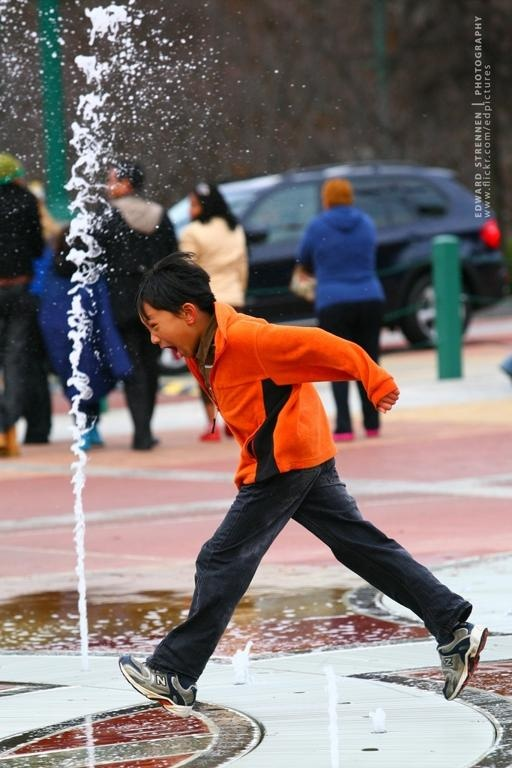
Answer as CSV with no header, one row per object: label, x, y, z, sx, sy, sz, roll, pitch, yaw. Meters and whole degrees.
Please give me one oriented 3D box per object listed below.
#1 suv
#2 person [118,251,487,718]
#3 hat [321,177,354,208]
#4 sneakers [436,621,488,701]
suv,1.944,-2.035,13.485,5.927,2.049,2.479,0,-1,-15
person,0.098,0.218,2.235,0.619,0.915,0.649,-5,-2,40
hat,0.723,-1.689,8.149,0.264,0.246,0.354,-3,-2,2
sneakers,0.512,0.696,2.271,0.117,0.177,0.136,-4,-2,10
